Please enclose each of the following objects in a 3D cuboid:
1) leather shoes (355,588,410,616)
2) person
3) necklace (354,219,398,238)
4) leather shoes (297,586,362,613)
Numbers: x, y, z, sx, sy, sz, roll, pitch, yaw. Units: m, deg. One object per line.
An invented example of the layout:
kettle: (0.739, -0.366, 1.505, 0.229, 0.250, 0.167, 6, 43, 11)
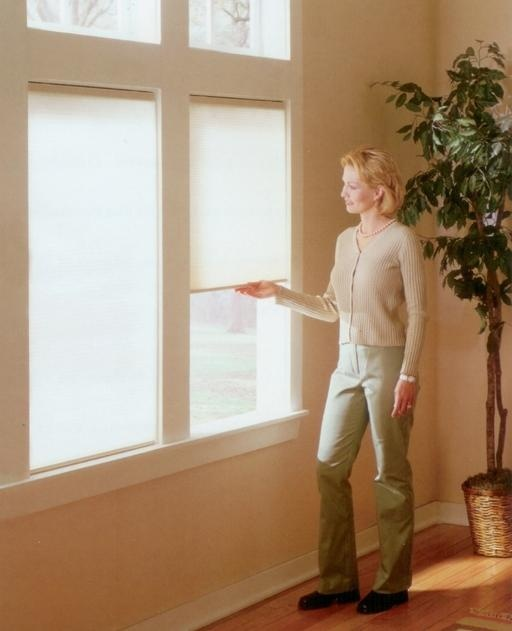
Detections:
leather shoes: (0.470, 1.037, 2.090, 0.193, 0.086, 0.071, 1, -4, -23)
person: (0.367, 0.253, 2.069, 0.456, 1.664, 0.364, -2, -5, 0)
necklace: (0.421, -0.311, 2.045, 0.162, 0.067, 0.057, -7, -7, 42)
leather shoes: (0.279, 1.056, 2.152, 0.231, 0.103, 0.079, 3, -4, -17)
